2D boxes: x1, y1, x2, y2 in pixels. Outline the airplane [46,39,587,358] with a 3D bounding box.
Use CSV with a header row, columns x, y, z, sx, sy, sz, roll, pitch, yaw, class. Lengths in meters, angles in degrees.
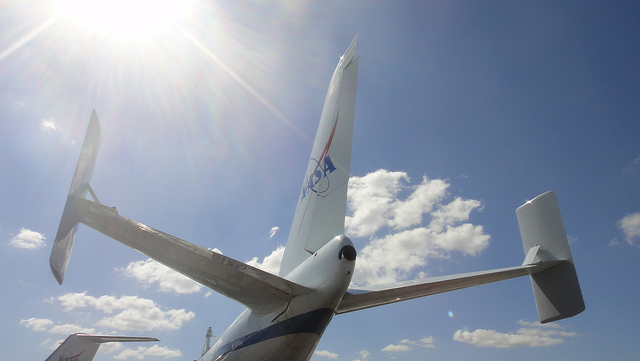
x,y,z,sx,sy,sz,roll,pitch,yaw,class
0.055,2.262,10.232,8.678,3.993,11.684,9,-24,-18,airplane
